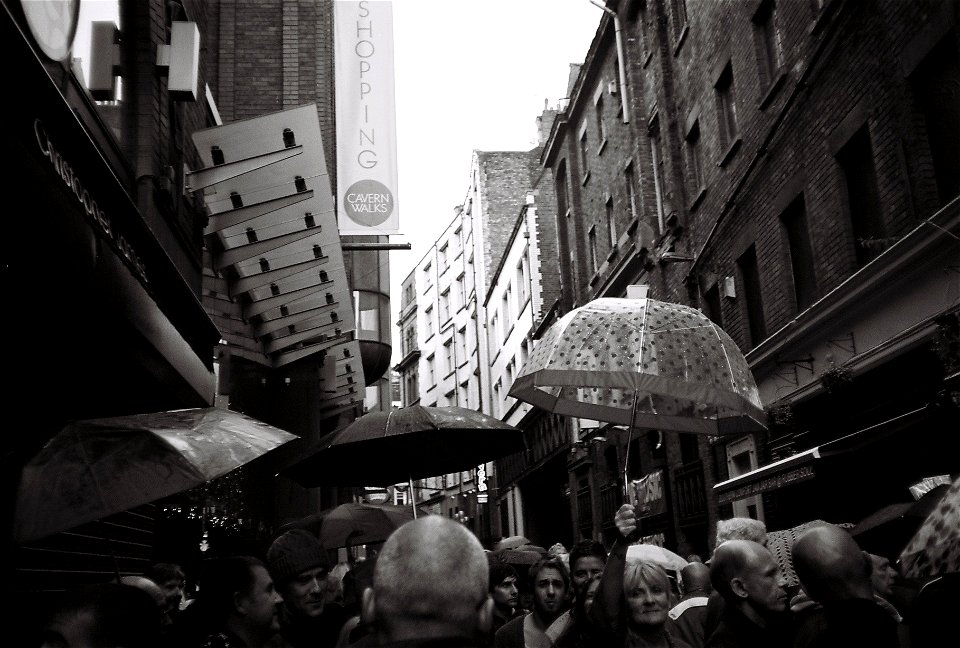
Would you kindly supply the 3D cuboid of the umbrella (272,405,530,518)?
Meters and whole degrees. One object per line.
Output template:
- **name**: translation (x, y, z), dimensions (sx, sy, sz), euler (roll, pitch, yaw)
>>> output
- **umbrella**: translation (-0.787, 1.216, 9.021), dimensions (1.426, 0.923, 1.454), euler (-26, -27, 21)

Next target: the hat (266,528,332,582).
- **hat**: translation (-1.467, 1.908, 7.371), dimensions (0.367, 0.319, 0.383), euler (-19, -8, -6)

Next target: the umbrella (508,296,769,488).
- **umbrella**: translation (1.507, 0.371, 8.213), dimensions (1.570, 1.197, 1.634), euler (14, -21, 15)
